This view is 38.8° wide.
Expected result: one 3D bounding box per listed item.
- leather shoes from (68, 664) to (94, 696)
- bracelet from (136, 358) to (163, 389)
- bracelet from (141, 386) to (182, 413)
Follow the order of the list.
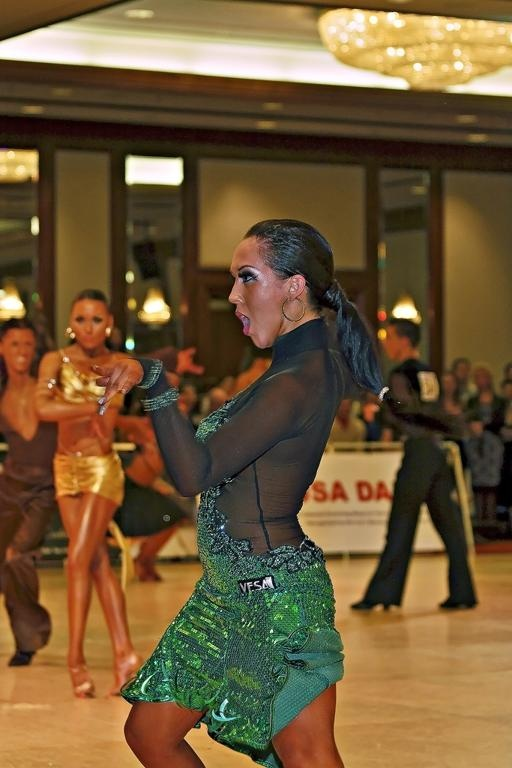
[{"bbox_3d":[-0.727,1.244,3.029,0.078,0.135,0.048,-17,-30,-13],"label":"leather shoes"},{"bbox_3d":[-0.136,-0.012,1.005,0.026,0.042,0.033,40,-13,13],"label":"bracelet"},{"bbox_3d":[-0.126,0.021,0.982,0.034,0.015,0.043,-25,6,-38],"label":"bracelet"}]
